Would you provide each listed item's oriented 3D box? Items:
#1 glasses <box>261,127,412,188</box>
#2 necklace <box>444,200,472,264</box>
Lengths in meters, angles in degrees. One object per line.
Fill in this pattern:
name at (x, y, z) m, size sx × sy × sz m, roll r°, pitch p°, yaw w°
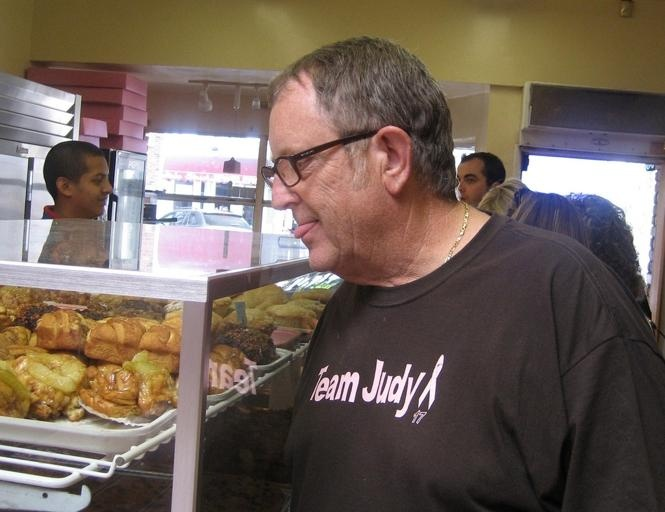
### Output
glasses at (-0.017, -0.155, 0.810) m, size 0.125 × 0.036 × 0.124 m, roll -24°, pitch 4°, yaw 2°
necklace at (0.202, -0.035, 0.815) m, size 0.009 × 0.078 × 0.053 m, roll 24°, pitch -20°, yaw -32°
